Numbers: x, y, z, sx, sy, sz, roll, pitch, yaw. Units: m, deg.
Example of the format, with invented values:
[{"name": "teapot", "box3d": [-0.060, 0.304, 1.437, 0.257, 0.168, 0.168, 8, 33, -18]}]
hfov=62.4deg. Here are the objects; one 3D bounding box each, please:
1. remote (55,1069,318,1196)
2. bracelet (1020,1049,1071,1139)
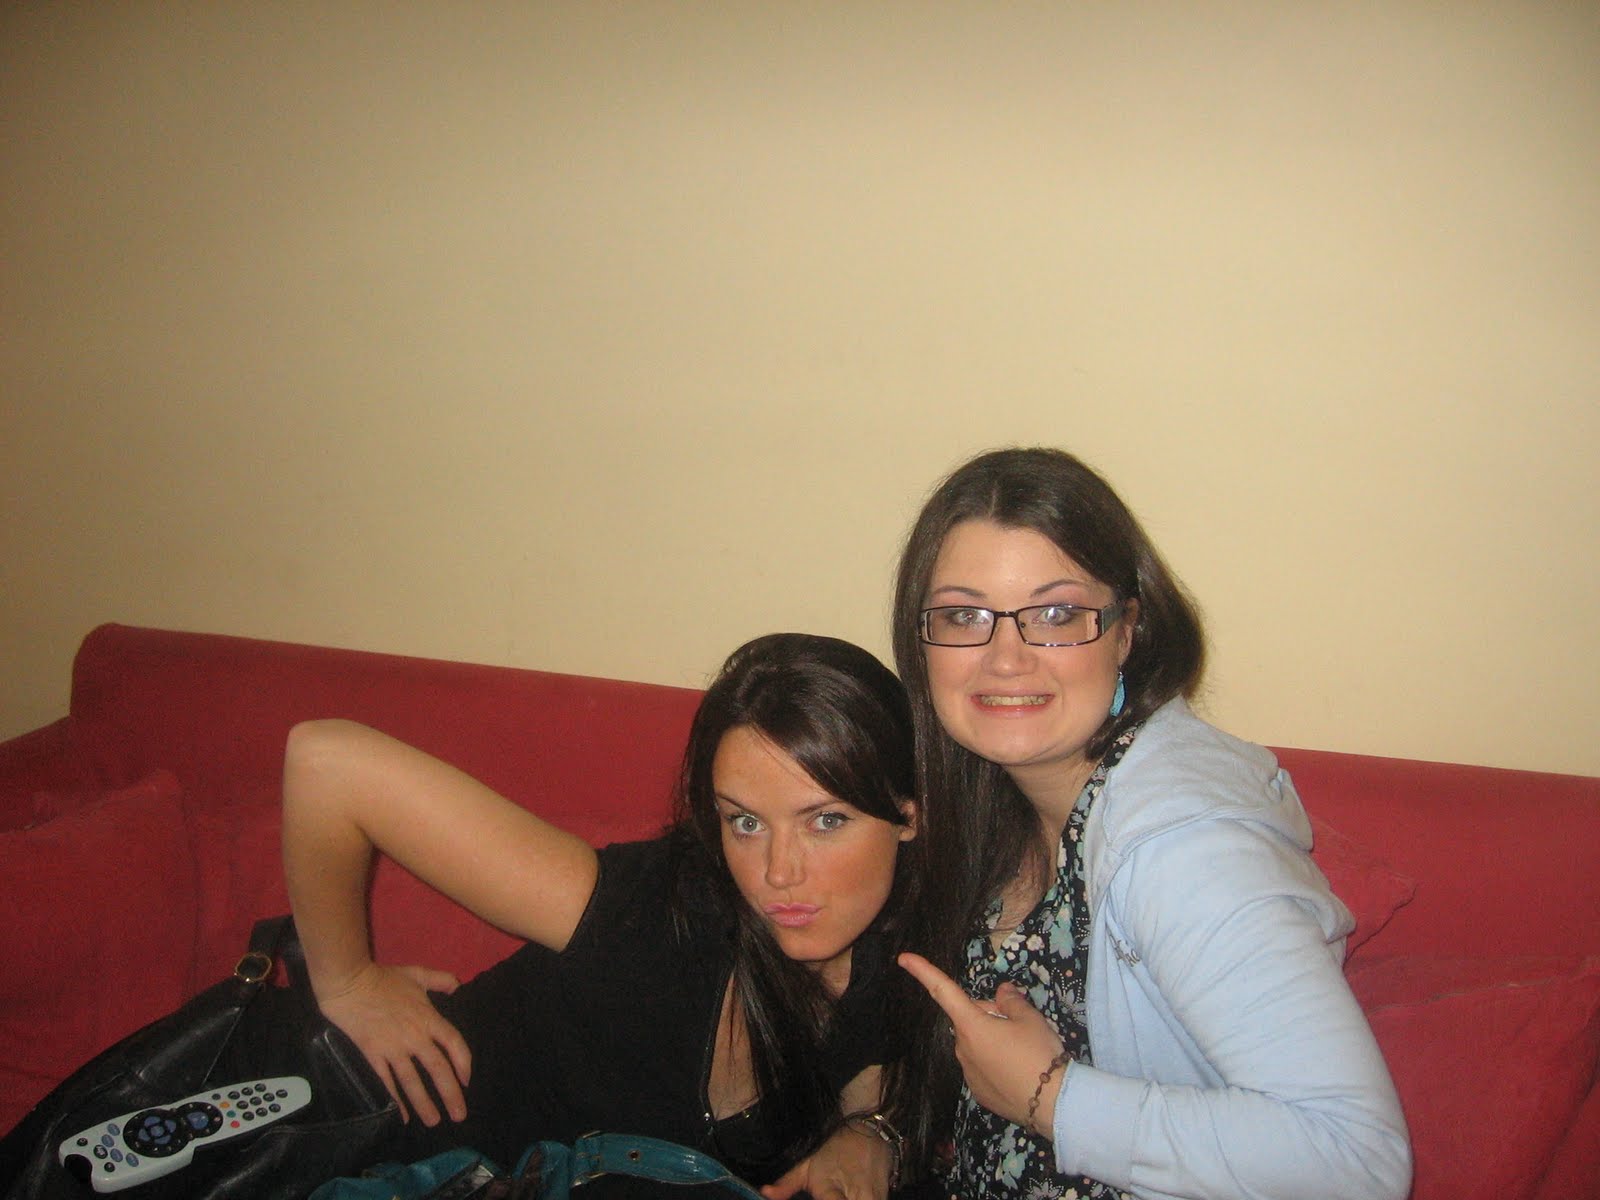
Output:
[{"name": "remote", "box3d": [-0.791, 0.716, 1.788, 0.347, 0.050, 0.111, -15, 52, -24]}, {"name": "bracelet", "box3d": [0.305, 0.584, 1.593, 0.043, 0.085, 0.094, 9, 11, 31]}]
